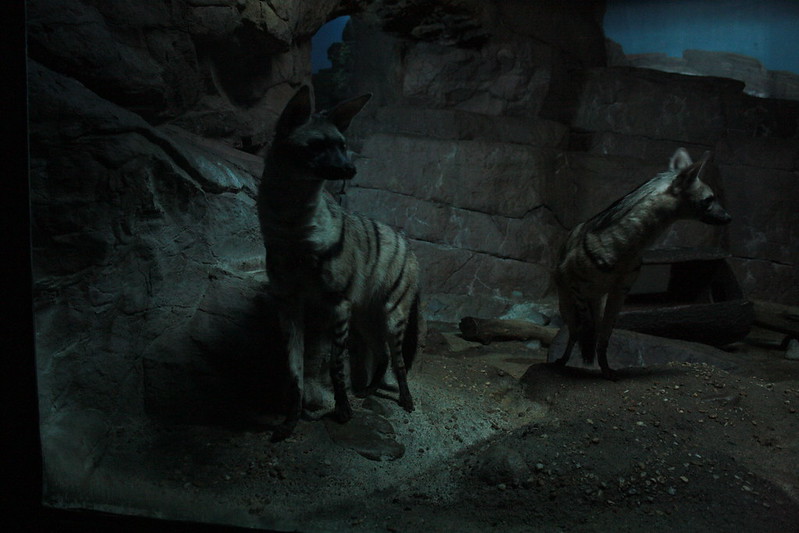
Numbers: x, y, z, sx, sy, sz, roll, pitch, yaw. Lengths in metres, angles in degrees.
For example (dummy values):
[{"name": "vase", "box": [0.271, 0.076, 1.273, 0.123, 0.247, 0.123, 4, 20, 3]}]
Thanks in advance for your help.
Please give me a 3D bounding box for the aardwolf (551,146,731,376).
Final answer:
[{"name": "aardwolf", "box": [1.565, -0.180, 5.962, 0.546, 1.350, 2.458, 7, -4, -44]}]
